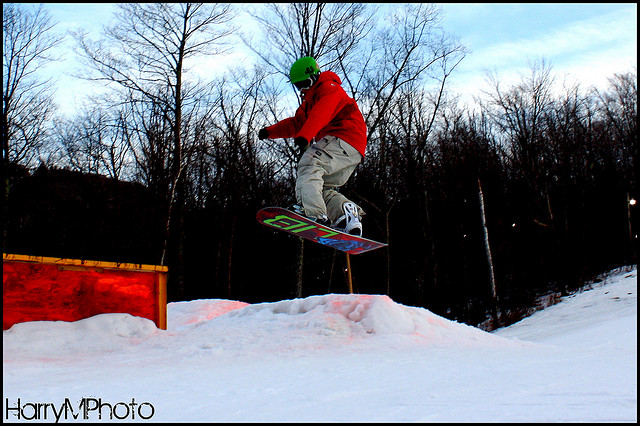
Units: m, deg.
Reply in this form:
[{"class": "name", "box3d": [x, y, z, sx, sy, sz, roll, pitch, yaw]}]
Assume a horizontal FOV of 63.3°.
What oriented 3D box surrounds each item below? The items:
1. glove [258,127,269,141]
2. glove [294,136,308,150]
[{"class": "glove", "box3d": [-1.083, -1.483, 9.670, 0.223, 0.205, 0.162, 5, 10, 43]}, {"class": "glove", "box3d": [-0.310, -1.164, 8.573, 0.203, 0.195, 0.241, -3, 7, -5]}]
